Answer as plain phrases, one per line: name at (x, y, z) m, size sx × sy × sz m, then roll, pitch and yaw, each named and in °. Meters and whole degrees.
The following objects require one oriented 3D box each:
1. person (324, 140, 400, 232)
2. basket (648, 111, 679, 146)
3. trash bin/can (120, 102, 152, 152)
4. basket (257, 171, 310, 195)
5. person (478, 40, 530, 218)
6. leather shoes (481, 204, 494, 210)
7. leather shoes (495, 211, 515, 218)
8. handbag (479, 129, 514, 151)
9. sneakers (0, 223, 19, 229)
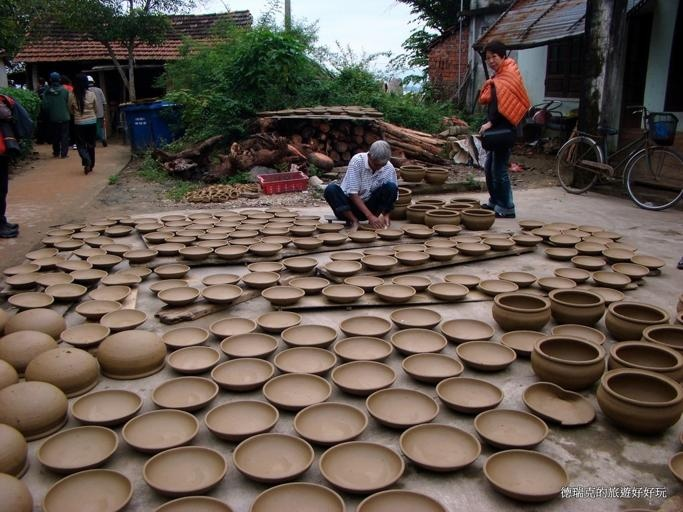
person at (0.250, -0.824, 5.553) m, size 0.982 × 0.874 × 0.736 m, roll 1°, pitch 17°, yaw -8°
basket at (4.397, -1.721, 6.634) m, size 0.373 × 0.436 × 0.335 m, roll 2°, pitch 19°, yaw 12°
trash bin/can at (-4.814, -3.005, 11.453) m, size 0.771 × 1.139 × 0.307 m, roll 6°, pitch 22°, yaw 22°
basket at (-0.907, -1.177, 7.842) m, size 0.731 × 0.185 × 0.429 m, roll -8°, pitch 23°, yaw -21°
person at (1.995, -1.537, 6.057) m, size 0.619 × 2.146 × 0.500 m, roll -5°, pitch 21°, yaw -6°
leather shoes at (1.963, -0.658, 6.537) m, size 0.199 × 0.059 × 0.058 m, roll 0°, pitch 5°, yaw -1°
leather shoes at (2.116, -0.516, 6.197) m, size 0.315 × 0.095 × 0.098 m, roll 3°, pitch 5°, yaw 3°
handbag at (1.902, -1.412, 5.893) m, size 0.387 × 0.213 × 0.253 m, roll -3°, pitch 17°, yaw 14°
sneakers at (-4.012, -0.361, 5.820) m, size 0.222 × 0.070 × 0.064 m, roll -3°, pitch 27°, yaw -14°
